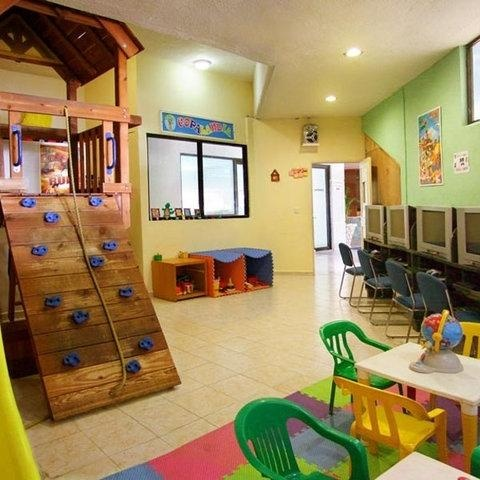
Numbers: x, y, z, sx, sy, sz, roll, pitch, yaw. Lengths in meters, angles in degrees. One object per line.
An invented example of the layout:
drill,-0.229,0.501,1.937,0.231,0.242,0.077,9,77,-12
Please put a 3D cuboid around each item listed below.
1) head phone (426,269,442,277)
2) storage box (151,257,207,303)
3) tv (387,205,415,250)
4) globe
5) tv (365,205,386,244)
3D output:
head phone,1.885,0.321,3.781,0.105,0.052,0.074,-4,-4,-40
storage box,-0.958,0.601,6.156,0.648,0.608,0.751,-8,8,-41
tv,1.905,-0.147,4.582,0.267,0.497,0.505,-3,5,-8
globe,0.933,0.467,1.843,0.228,0.276,0.211,-1,2,-36
tv,1.911,-0.216,5.470,0.273,0.511,0.517,-3,5,-2
